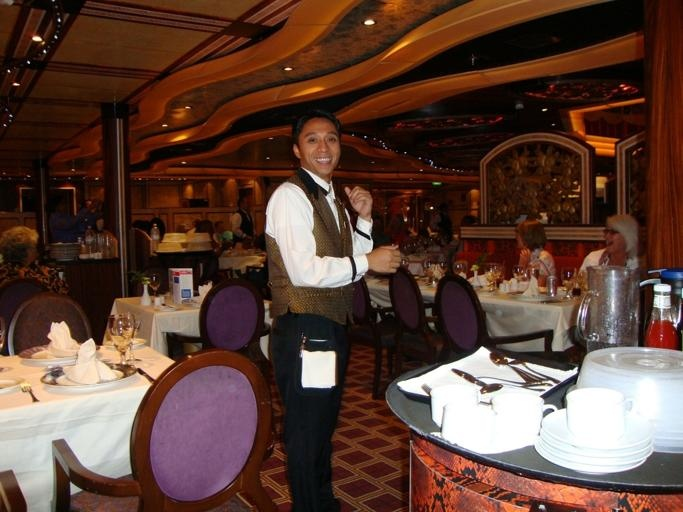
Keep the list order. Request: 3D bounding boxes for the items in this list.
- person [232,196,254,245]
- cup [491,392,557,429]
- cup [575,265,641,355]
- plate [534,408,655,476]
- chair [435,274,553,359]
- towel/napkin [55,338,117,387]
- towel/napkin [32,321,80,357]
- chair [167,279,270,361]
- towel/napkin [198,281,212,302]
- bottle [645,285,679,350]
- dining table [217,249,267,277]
[{"bbox_3d":[-2.234,-0.788,11.637,0.447,0.926,1.591,-8,2,-10],"label":"person"},{"bbox_3d":[0.427,0.366,1.224,0.130,0.078,0.077,2,0,-10],"label":"cup"},{"bbox_3d":[0.781,0.162,1.522,0.149,0.259,0.172,-11,4,-43],"label":"cup"},{"bbox_3d":[0.559,0.408,1.118,0.252,0.093,0.109,-7,3,1],"label":"plate"},{"bbox_3d":[1.156,0.608,4.025,0.687,0.997,0.635,-7,10,-25],"label":"chair"},{"bbox_3d":[-1.069,0.437,2.171,0.232,0.142,0.170,5,-12,-38],"label":"towel/napkin"},{"bbox_3d":[-1.439,0.446,2.582,0.257,0.116,0.182,0,-10,24],"label":"towel/napkin"},{"bbox_3d":[-0.906,0.482,3.783,0.645,0.813,0.526,-3,17,-31],"label":"chair"},{"bbox_3d":[-1.139,0.306,4.318,0.147,0.157,0.132,0,-13,10],"label":"towel/napkin"},{"bbox_3d":[0.909,0.178,1.466,0.082,0.220,0.199,-6,3,32],"label":"bottle"},{"bbox_3d":[-1.929,0.136,10.174,0.725,0.244,0.701,-13,22,-33],"label":"dining table"}]
